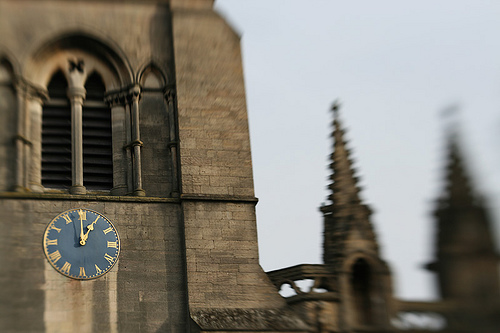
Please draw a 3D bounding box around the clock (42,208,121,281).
[{"bbox_3d":[-4.462,1.994,25.656,2.272,1.897,0.174,0,2,20],"label":"clock"}]
